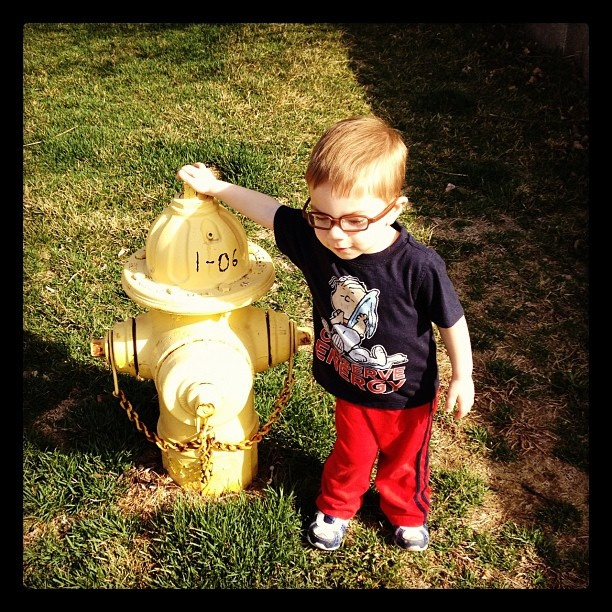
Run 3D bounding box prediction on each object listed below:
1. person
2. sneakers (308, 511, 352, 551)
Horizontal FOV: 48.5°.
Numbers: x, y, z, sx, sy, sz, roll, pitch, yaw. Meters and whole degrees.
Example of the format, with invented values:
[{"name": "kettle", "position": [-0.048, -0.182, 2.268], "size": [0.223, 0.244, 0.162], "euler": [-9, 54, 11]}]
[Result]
[{"name": "person", "position": [0.068, 0.187, 2.679], "size": [1.284, 1.561, 0.534], "euler": [3, 14, 17]}, {"name": "sneakers", "position": [0.089, 0.945, 2.867], "size": [0.114, 0.082, 0.198], "euler": [6, 6, 5]}]
